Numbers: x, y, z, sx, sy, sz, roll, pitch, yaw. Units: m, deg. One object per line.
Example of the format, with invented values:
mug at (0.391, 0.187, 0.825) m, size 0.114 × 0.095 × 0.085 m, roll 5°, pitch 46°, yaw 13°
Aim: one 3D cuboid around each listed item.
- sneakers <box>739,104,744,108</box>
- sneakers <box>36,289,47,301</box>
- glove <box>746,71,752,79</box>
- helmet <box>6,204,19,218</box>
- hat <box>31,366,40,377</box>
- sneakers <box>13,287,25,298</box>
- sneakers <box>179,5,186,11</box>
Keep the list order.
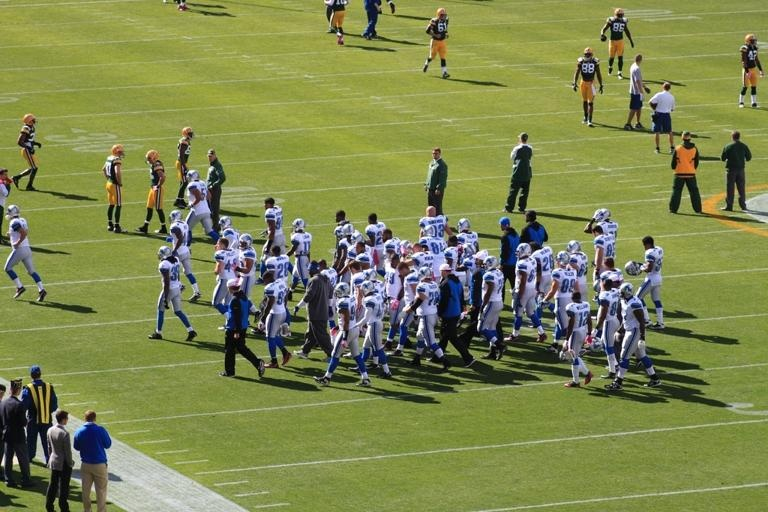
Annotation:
sneakers at (11.036, -4.653, 43.914) m, size 0.136 × 0.088 × 0.183 m, roll 21°, pitch -16°, yaw -39°
sneakers at (-7.347, 0.832, 30.624) m, size 0.192 × 0.293 × 0.122 m, roll 17°, pitch 5°, yaw -6°
glove at (11.092, -5.532, 43.274) m, size 0.212 × 0.207 × 0.087 m, roll 4°, pitch -2°, yaw -3°
helmet at (-8.111, -0.979, 31.205) m, size 0.238 × 0.264 × 0.544 m, roll 0°, pitch 7°, yaw -17°
hat at (-6.014, 1.993, 24.629) m, size 0.154 × 0.183 × 0.170 m, roll 8°, pitch 49°, yaw -7°
sneakers at (-7.824, 0.766, 30.744) m, size 0.197 × 0.358 × 0.114 m, roll 28°, pitch 45°, yaw -21°
sneakers at (-7.493, -9.281, 53.046) m, size 0.231 × 0.101 × 0.264 m, roll 1°, pitch 6°, yaw 2°
